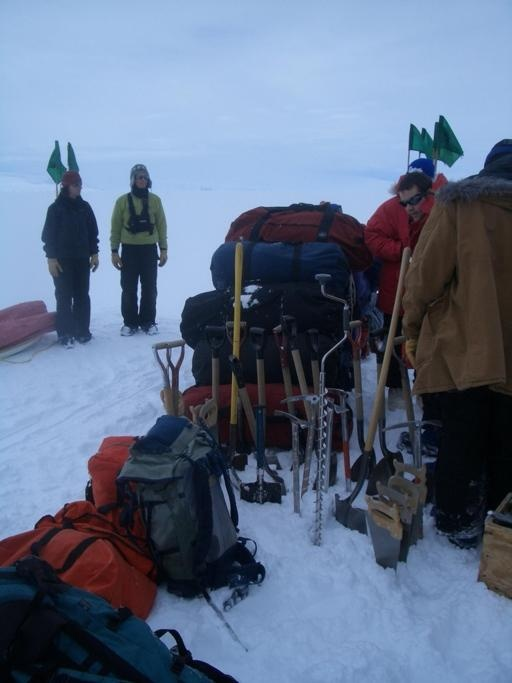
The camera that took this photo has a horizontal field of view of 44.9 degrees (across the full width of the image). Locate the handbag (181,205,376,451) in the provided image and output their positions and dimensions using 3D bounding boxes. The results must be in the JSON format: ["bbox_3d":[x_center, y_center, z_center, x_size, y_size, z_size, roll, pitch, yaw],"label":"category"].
[{"bbox_3d":[0.165,-0.067,3.467,1.008,2.034,0.998,-1,-13,4],"label":"handbag"}]

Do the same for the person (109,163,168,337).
[{"bbox_3d":[-1.229,-0.935,6.554,0.583,1.814,0.760,-3,10,-10],"label":"person"}]

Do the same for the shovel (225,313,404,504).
[{"bbox_3d":[0.253,0.337,3.035,0.630,0.994,0.101,1,11,6],"label":"shovel"}]

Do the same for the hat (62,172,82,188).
[{"bbox_3d":[-1.725,-1.530,5.832,0.144,0.185,0.130,-1,23,-5],"label":"hat"}]

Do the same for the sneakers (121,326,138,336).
[{"bbox_3d":[-1.403,-0.107,6.874,0.118,0.123,0.059,-13,-23,9],"label":"sneakers"}]

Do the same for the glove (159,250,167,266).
[{"bbox_3d":[-0.979,-0.901,6.680,0.047,0.179,0.110,7,1,-15],"label":"glove"}]

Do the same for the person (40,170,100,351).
[{"bbox_3d":[-1.817,-0.806,6.155,0.523,1.719,0.508,-5,10,-19],"label":"person"}]

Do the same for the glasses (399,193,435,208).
[{"bbox_3d":[0.832,-0.731,3.171,0.112,0.042,0.101,-47,25,-23],"label":"glasses"}]

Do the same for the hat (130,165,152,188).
[{"bbox_3d":[-1.154,-1.635,6.159,0.151,0.243,0.204,-1,-3,-11],"label":"hat"}]

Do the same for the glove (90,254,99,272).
[{"bbox_3d":[-1.660,-0.810,6.311,0.052,0.217,0.130,-1,-2,4],"label":"glove"}]

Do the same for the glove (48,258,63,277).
[{"bbox_3d":[-1.941,-0.714,5.971,0.116,0.200,0.156,-9,12,-34],"label":"glove"}]

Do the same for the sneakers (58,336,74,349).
[{"bbox_3d":[-1.905,0.024,6.238,0.101,0.155,0.104,12,-15,-41],"label":"sneakers"}]

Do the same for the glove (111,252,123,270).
[{"bbox_3d":[-1.465,-0.867,6.475,0.108,0.185,0.055,-2,-14,-44],"label":"glove"}]
